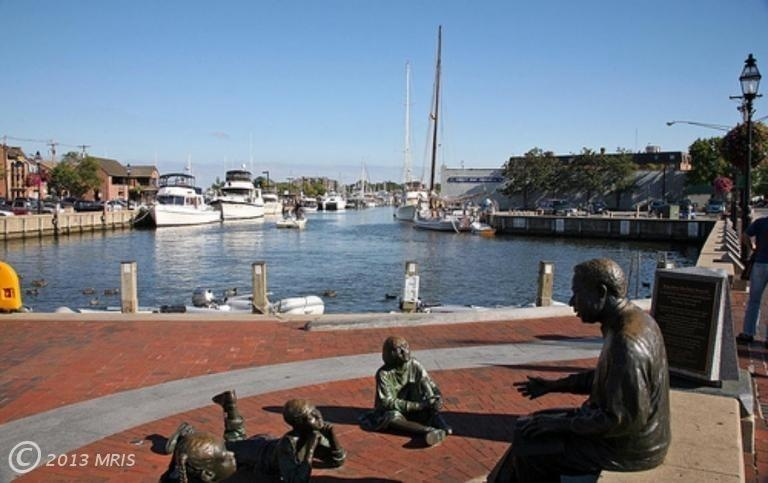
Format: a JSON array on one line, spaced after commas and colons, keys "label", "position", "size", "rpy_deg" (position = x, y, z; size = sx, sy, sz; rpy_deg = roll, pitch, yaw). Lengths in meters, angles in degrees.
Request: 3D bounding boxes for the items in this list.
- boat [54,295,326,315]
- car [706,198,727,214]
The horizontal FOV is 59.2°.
[{"label": "boat", "position": [-5.919, 1.942, 20.508], "size": [3.111, 0.524, 1.004], "rpy_deg": [1, -4, -5]}, {"label": "car", "position": [31.087, -3.297, 63.492], "size": [1.423, 1.226, 2.653], "rpy_deg": [0, -1, 36]}]
